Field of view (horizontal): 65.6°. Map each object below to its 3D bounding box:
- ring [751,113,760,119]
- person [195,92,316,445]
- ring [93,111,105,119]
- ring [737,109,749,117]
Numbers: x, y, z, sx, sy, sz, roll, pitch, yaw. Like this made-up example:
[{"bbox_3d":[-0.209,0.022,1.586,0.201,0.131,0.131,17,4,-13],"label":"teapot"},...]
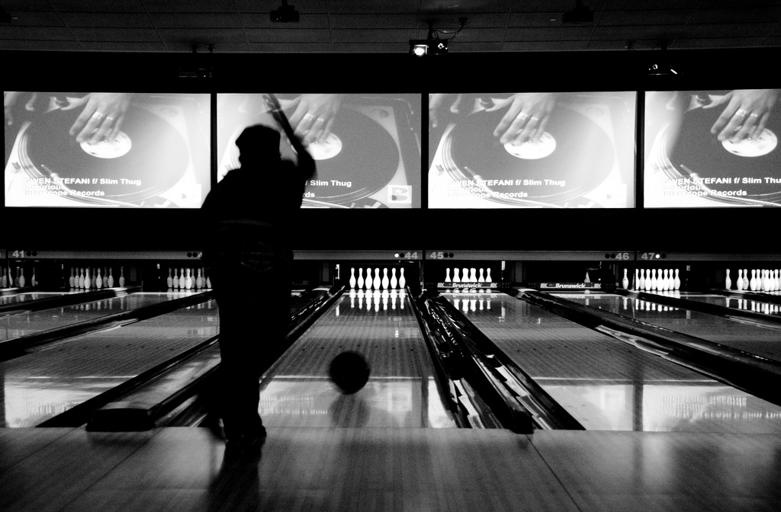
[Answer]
[{"bbox_3d":[4.065,-1.556,6.733,0.090,0.050,0.020,-1,12,-4],"label":"ring"},{"bbox_3d":[-0.724,0.055,3.084,0.441,1.649,0.642,7,14,29],"label":"person"},{"bbox_3d":[-3.295,-1.593,6.852,0.110,0.092,0.025,8,0,-2],"label":"ring"},{"bbox_3d":[3.930,-1.592,6.760,0.089,0.076,0.020,5,3,8],"label":"ring"}]
